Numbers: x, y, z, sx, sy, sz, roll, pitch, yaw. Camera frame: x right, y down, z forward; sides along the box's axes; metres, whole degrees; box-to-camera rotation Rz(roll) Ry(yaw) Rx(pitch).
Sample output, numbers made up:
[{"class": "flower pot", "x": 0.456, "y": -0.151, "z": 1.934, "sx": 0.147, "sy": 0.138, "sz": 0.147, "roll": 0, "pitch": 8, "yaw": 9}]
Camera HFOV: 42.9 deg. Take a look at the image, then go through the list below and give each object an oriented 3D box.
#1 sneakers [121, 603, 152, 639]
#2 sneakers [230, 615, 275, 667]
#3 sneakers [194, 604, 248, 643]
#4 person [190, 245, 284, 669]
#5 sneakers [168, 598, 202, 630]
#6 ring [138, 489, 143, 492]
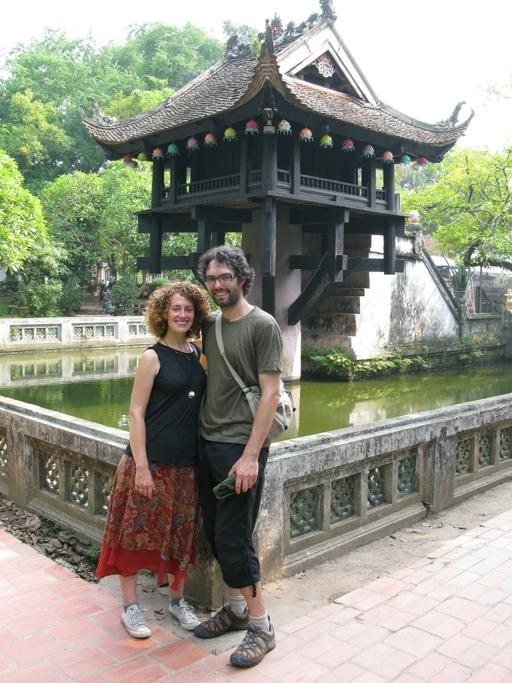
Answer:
[{"class": "sneakers", "x": -0.498, "y": 1.154, "z": 2.684, "sx": 0.137, "sy": 0.119, "sz": 0.126, "roll": 0, "pitch": 1, "yaw": 0}, {"class": "sneakers", "x": -0.006, "y": 1.178, "z": 2.503, "sx": 0.074, "sy": 0.099, "sz": 0.215, "roll": -2, "pitch": -12, "yaw": 23}, {"class": "sneakers", "x": -0.140, "y": 1.186, "z": 2.751, "sx": 0.265, "sy": 0.109, "sz": 0.089, "roll": 2, "pitch": -5, "yaw": -31}, {"class": "person", "x": -0.065, "y": 0.415, "z": 2.690, "sx": 0.348, "sy": 1.650, "sz": 0.544, "roll": 0, "pitch": 2, "yaw": -21}, {"class": "sneakers", "x": -0.309, "y": 1.168, "z": 2.793, "sx": 0.067, "sy": 0.072, "sz": 0.189, "roll": -1, "pitch": -5, "yaw": -30}, {"class": "ring", "x": -0.478, "y": 0.621, "z": 2.711, "sx": 0.014, "sy": 0.018, "sz": 0.006, "roll": 3, "pitch": 3, "yaw": 16}]
